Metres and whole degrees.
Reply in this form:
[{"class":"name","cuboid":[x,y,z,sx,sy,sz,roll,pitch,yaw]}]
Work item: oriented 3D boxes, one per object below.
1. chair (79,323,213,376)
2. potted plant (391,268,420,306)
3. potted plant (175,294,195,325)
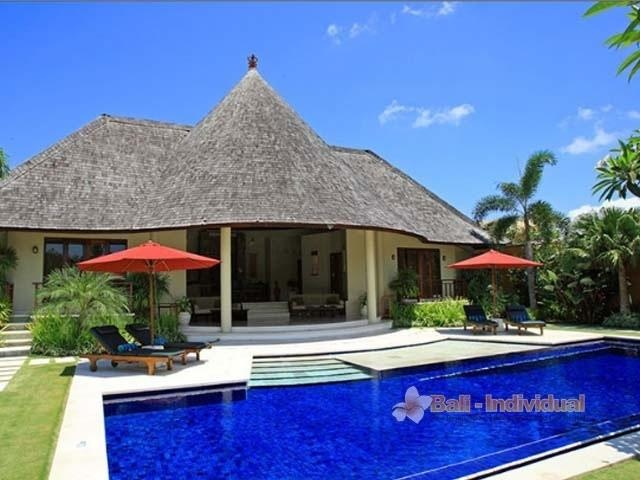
[{"class":"chair","cuboid":[-5.932,3.614,14.926,3.027,1.394,1.980,1,0,10]},{"class":"potted plant","cuboid":[5.071,2.854,27.171,2.112,2.532,1.885,1,-6,-11]},{"class":"potted plant","cuboid":[-6.757,3.653,22.411,0.825,1.420,2.773,1,0,-16]}]
